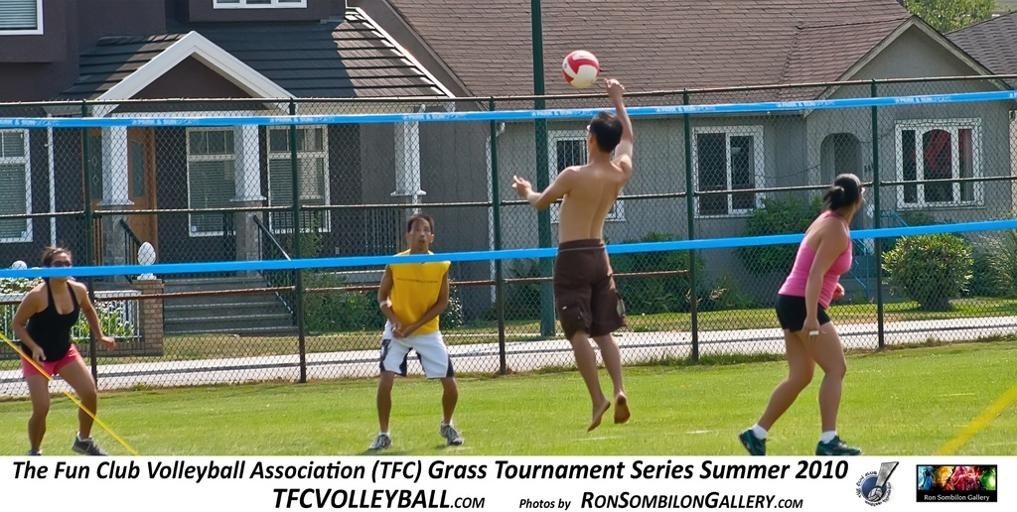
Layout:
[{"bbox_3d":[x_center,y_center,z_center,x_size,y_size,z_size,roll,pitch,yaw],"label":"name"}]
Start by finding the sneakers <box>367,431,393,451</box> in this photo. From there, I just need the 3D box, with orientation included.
[{"bbox_3d":[-2.128,3.109,20.862,0.398,0.230,0.253,-12,0,6],"label":"sneakers"}]

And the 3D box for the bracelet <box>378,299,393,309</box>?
[{"bbox_3d":[-2.085,0.800,21.232,0.225,0.131,0.202,1,-1,-7],"label":"bracelet"}]

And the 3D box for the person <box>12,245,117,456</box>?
[{"bbox_3d":[-7.510,1.829,20.747,1.351,2.917,0.781,-5,2,-19],"label":"person"}]

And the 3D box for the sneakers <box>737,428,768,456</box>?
[{"bbox_3d":[3.961,2.998,19.882,0.272,0.608,0.227,-30,25,19],"label":"sneakers"}]
